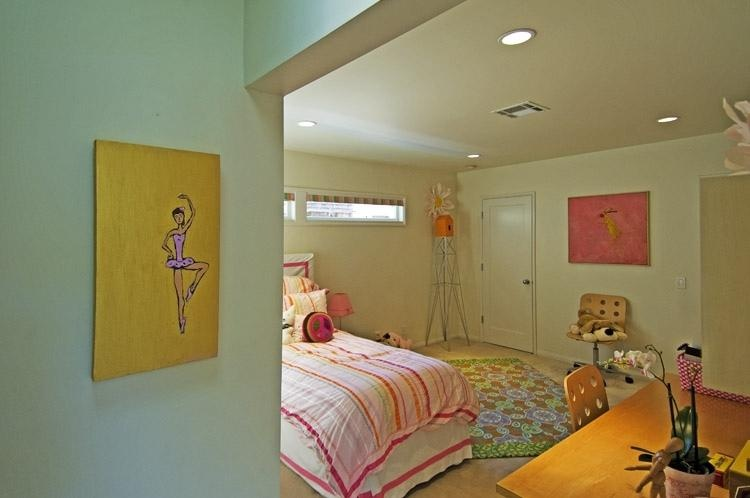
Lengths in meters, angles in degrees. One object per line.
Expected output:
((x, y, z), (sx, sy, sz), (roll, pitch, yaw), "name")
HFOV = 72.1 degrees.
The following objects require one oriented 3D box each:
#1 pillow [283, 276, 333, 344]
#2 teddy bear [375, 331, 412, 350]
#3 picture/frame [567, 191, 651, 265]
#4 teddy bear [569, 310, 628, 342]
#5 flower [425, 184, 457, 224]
((-0.666, 0.556, 4.845), (0.526, 0.572, 0.188), (4, -13, -44), "pillow")
((0.206, 1.057, 5.743), (0.341, 0.142, 0.261), (15, 2, -30), "teddy bear")
((2.506, -0.226, 5.459), (0.083, 0.752, 0.809), (2, -2, -41), "picture/frame")
((2.303, 0.804, 5.368), (0.531, 0.248, 0.443), (1, 8, 20), "teddy bear")
((0.844, -0.599, 6.718), (0.337, 0.516, 0.246), (-1, 8, 5), "flower")
